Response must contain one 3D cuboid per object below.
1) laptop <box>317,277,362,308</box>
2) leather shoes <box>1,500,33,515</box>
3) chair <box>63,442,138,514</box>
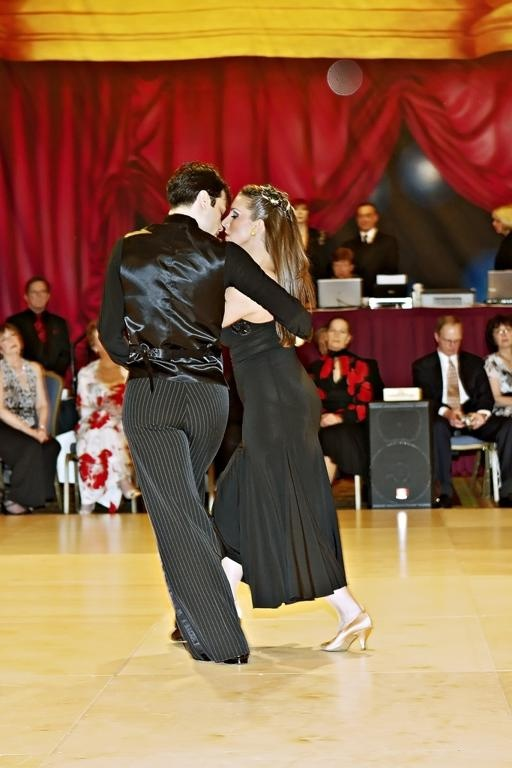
[{"bbox_3d":[0.716,-0.776,5.681,0.403,0.254,0.259,0,-3,5],"label":"laptop"},{"bbox_3d":[-1.751,0.898,4.823,0.237,0.088,0.079,1,3,21],"label":"leather shoes"},{"bbox_3d":[-1.192,0.716,5.168,0.627,0.759,0.481,0,-2,-2],"label":"chair"}]
